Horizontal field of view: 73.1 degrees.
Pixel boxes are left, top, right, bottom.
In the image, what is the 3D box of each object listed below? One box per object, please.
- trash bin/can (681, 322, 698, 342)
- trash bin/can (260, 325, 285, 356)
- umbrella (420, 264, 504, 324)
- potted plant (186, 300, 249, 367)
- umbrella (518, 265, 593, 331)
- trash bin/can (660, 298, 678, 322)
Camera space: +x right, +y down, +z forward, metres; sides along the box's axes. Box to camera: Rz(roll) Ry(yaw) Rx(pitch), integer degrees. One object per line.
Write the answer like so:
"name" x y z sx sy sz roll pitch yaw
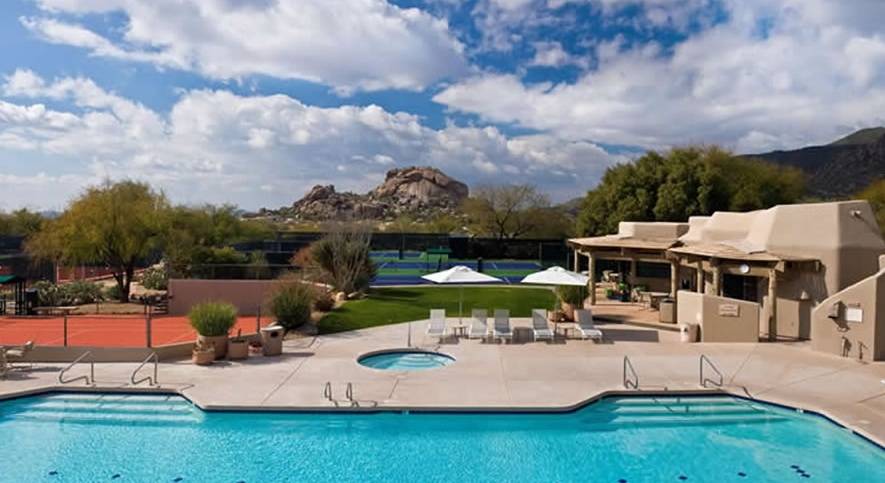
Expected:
"trash bin/can" 12.202 4.572 30.104 0.975 0.917 0.873 2 -5 -18
"trash bin/can" -8.278 4.723 28.536 1.264 1.219 1.193 1 5 13
"umbrella" 1.134 2.974 31.575 3.873 2.272 3.401 3 9 8
"potted plant" -10.998 4.312 28.696 2.695 2.885 2.790 2 5 -5
"umbrella" 5.880 2.897 31.559 3.546 2.150 3.197 0 -3 0
"trash bin/can" 12.214 3.799 32.630 0.879 1.140 0.869 5 15 18
